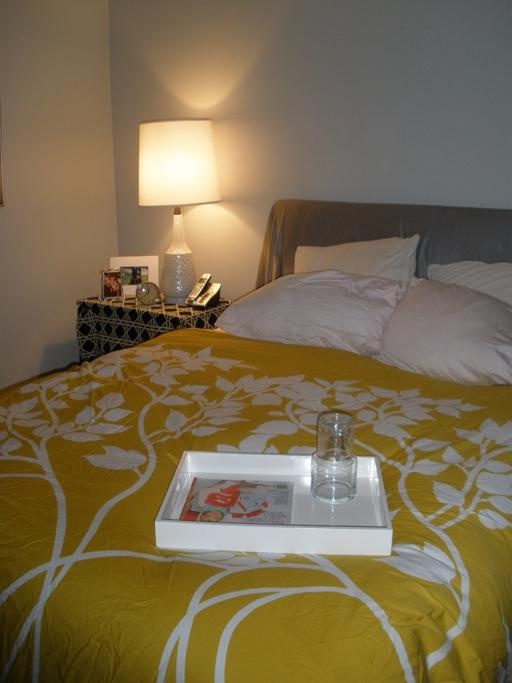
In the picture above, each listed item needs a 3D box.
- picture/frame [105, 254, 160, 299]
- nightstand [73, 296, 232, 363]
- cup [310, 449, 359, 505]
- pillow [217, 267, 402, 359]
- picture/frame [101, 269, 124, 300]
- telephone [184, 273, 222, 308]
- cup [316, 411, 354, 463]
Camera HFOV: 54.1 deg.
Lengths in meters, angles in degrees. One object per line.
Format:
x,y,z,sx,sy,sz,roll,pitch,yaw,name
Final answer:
-0.700,-0.365,2.857,0.302,0.274,0.019,0,8,-6,picture/frame
-0.686,-0.103,2.758,0.570,0.297,0.463,12,20,32,nightstand
0.130,0.228,0.887,0.073,0.071,0.074,0,17,0,cup
0.230,-0.121,1.929,0.456,0.131,0.396,5,44,29,pillow
-0.813,-0.327,2.841,0.179,0.234,0.031,-2,5,-29,picture/frame
-0.270,-0.254,2.669,0.151,0.200,0.060,14,-10,17,telephone
0.137,0.165,0.901,0.075,0.078,0.075,0,12,0,cup
